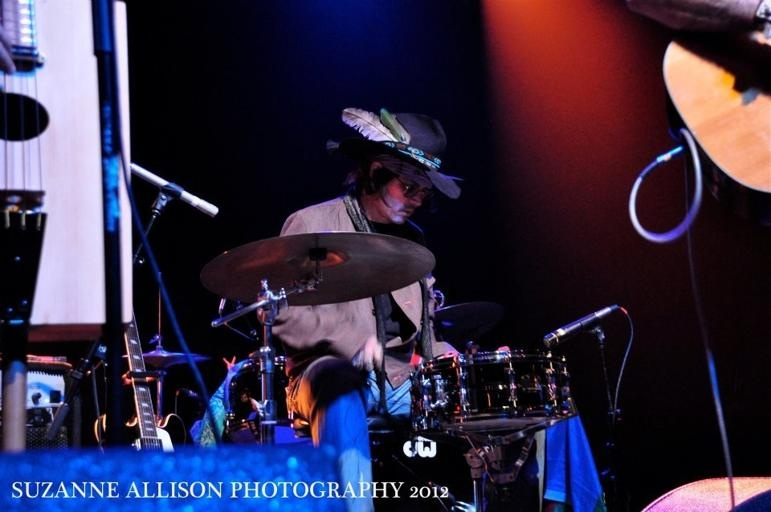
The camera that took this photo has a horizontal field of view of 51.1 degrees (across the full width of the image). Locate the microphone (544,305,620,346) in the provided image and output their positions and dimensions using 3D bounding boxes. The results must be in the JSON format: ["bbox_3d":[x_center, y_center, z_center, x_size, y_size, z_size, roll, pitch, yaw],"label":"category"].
[{"bbox_3d":[1.294,0.456,5.261,0.691,0.112,0.110,-22,0,-41],"label":"microphone"}]

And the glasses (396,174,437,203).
[{"bbox_3d":[0.158,-0.369,4.455,0.144,0.048,0.143,43,20,27],"label":"glasses"}]

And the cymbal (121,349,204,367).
[{"bbox_3d":[-1.420,0.650,5.129,0.532,0.113,0.534,0,-8,-14],"label":"cymbal"}]

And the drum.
[{"bbox_3d":[0.503,0.650,3.839,0.772,0.380,0.231,-2,-2,1],"label":"drum"}]
